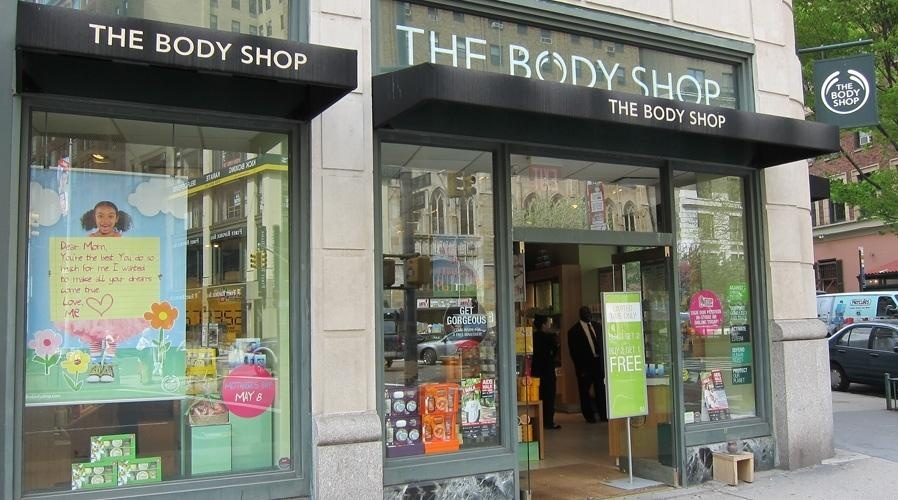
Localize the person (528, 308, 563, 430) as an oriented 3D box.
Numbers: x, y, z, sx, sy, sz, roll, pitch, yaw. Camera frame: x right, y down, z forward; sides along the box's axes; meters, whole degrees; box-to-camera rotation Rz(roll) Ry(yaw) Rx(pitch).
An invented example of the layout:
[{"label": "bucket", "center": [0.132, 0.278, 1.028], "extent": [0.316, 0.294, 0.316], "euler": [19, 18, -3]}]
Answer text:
[{"label": "person", "center": [1.994, 2.553, 16.011], "extent": [0.454, 2.388, 0.731], "euler": [-6, -7, 17]}]

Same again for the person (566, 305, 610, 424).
[{"label": "person", "center": [2.955, 2.480, 16.436], "extent": [0.674, 2.485, 0.927], "euler": [-7, -7, 26]}]

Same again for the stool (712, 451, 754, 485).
[{"label": "stool", "center": [4.665, 3.567, 12.566], "extent": [0.569, 0.412, 0.538], "euler": [1, -7, -16]}]

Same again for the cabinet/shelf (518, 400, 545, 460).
[{"label": "cabinet/shelf", "center": [1.420, 3.196, 13.336], "extent": [0.376, 1.079, 1.329], "euler": [-5, -6, 10]}]

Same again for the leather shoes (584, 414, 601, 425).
[{"label": "leather shoes", "center": [3.075, 3.693, 16.748], "extent": [0.165, 0.200, 0.472], "euler": [0, -16, -37]}]
